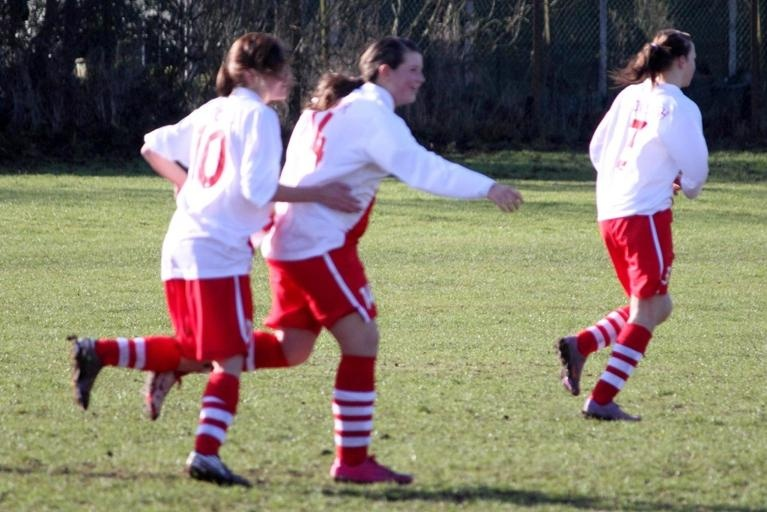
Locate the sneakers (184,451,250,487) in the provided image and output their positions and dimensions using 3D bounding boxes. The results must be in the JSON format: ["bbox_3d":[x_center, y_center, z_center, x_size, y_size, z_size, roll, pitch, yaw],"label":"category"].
[{"bbox_3d":[-1.345,1.600,10.210,0.203,0.255,0.588,-11,-24,27],"label":"sneakers"}]

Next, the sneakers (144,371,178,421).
[{"bbox_3d":[-1.777,1.090,10.614,0.163,0.493,0.131,26,13,1],"label":"sneakers"}]

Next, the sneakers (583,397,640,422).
[{"bbox_3d":[1.837,1.278,10.966,0.493,0.192,0.172,2,-2,-2],"label":"sneakers"}]

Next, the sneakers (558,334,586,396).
[{"bbox_3d":[1.566,0.903,11.230,0.234,0.521,0.194,3,8,27],"label":"sneakers"}]

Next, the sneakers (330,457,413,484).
[{"bbox_3d":[-0.115,1.687,10.378,0.666,0.252,0.221,1,-6,-4],"label":"sneakers"}]
